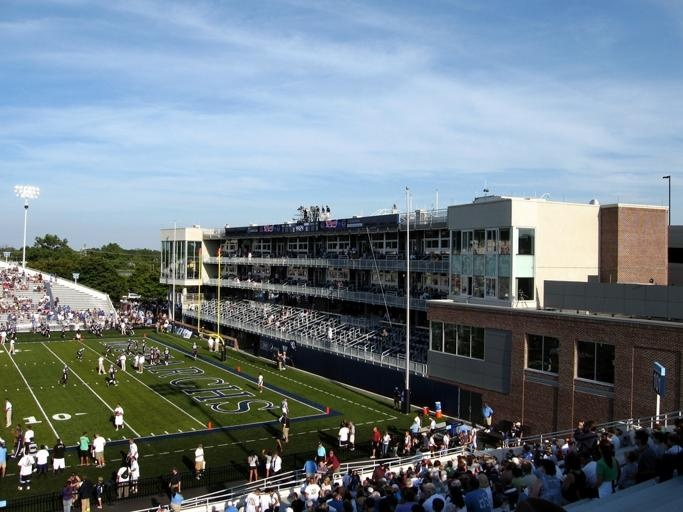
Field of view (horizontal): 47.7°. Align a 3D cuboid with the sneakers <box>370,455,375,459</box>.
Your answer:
[{"bbox_3d":[1.858,11.968,46.039,0.103,0.246,0.246,10,12,-14],"label":"sneakers"}]
